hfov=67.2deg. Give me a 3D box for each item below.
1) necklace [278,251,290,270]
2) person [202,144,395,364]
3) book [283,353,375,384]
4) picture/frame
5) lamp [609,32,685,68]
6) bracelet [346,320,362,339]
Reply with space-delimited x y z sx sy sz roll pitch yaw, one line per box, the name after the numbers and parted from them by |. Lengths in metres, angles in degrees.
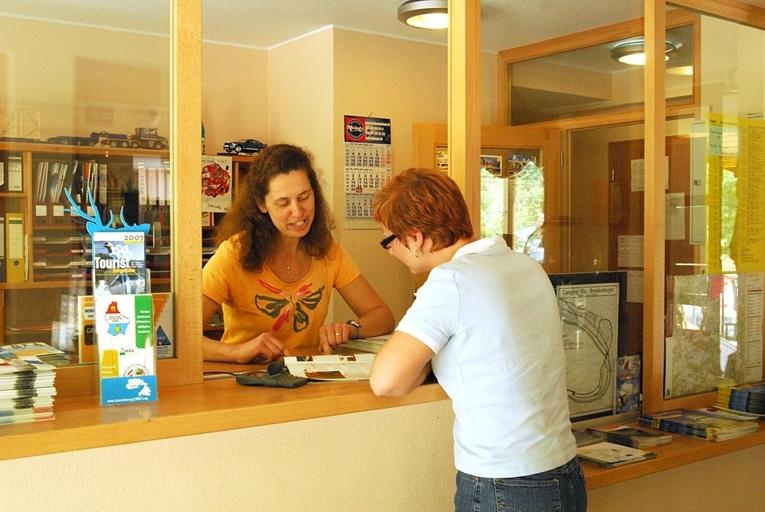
-0.451 0.022 2.637 0.018 0.070 0.060 -13 -4 38 | necklace
-0.441 0.063 2.624 1.016 1.080 0.649 -3 25 -24 | person
-0.166 0.381 2.011 0.352 0.054 0.275 -4 2 -21 | book
0.811 0.365 2.302 0.744 0.625 0.037 1 -2 -35 | picture/frame
1.218 -0.966 2.696 0.211 0.047 0.203 0 2 5 | lamp
-0.136 0.316 2.498 0.054 0.072 0.083 8 -8 38 | bracelet
